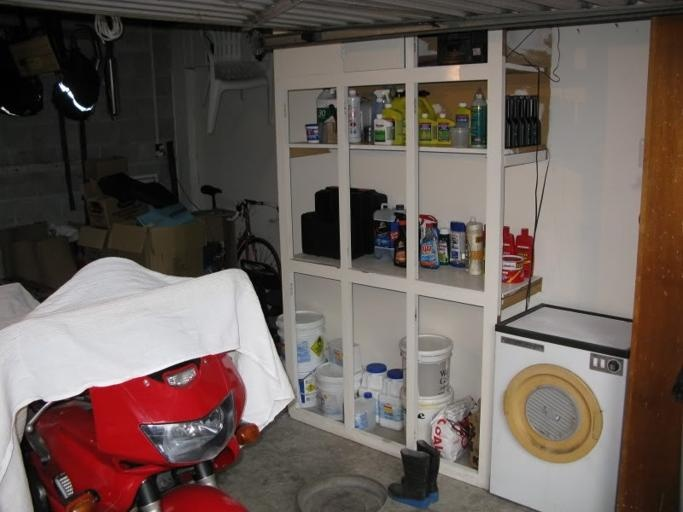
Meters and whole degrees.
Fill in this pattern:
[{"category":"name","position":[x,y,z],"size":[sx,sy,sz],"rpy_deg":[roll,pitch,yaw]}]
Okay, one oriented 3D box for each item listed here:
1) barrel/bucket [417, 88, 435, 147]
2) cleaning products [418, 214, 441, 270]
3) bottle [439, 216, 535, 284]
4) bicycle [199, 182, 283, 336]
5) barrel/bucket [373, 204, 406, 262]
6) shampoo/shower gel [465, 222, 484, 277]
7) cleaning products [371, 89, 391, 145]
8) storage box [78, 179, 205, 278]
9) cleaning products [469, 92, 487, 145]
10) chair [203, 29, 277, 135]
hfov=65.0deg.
[{"category":"barrel/bucket","position":[0.527,-0.861,3.291],"size":[0.105,0.347,0.401],"rpy_deg":[0,12,9]},{"category":"cleaning products","position":[0.556,-0.091,3.438],"size":[0.167,0.318,0.113],"rpy_deg":[7,14,36]},{"category":"bottle","position":[0.881,-0.034,3.225],"size":[0.411,0.465,0.290],"rpy_deg":[5,10,43]},{"category":"bicycle","position":[-1.230,-0.157,6.153],"size":[0.758,1.201,1.744],"rpy_deg":[-9,20,-43]},{"category":"barrel/bucket","position":[0.346,-0.158,3.642],"size":[0.180,0.371,0.228],"rpy_deg":[-7,14,-41]},{"category":"shampoo/shower gel","position":[0.815,-0.048,3.244],"size":[0.110,0.308,0.141],"rpy_deg":[0,12,6]},{"category":"cleaning products","position":[0.260,-0.862,3.295],"size":[0.124,0.338,0.093],"rpy_deg":[6,19,27]},{"category":"storage box","position":[-1.993,-0.285,5.916],"size":[1.123,1.251,0.934],"rpy_deg":[7,16,24]},{"category":"cleaning products","position":[0.760,-0.761,2.961],"size":[0.078,0.312,0.127],"rpy_deg":[-2,12,-3]},{"category":"chair","position":[-1.080,-1.861,5.450],"size":[0.607,1.065,0.716],"rpy_deg":[-7,20,-18]}]
